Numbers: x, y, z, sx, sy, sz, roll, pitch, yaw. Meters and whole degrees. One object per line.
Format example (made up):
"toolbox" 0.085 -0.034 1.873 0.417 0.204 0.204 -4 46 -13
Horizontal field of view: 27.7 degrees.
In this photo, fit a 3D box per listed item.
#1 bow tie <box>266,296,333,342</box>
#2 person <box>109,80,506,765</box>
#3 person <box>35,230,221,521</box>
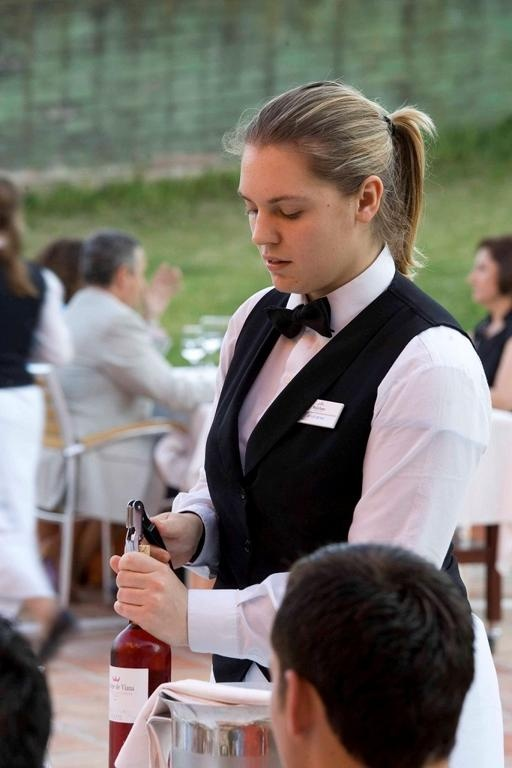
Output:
"bow tie" 0.061 -0.091 1.440 0.064 0.054 0.073 -6 13 -26
"person" 0.015 0.027 1.466 0.528 0.887 0.605 22 25 38
"person" -0.277 0.111 2.309 0.529 0.854 0.374 0 13 -1
